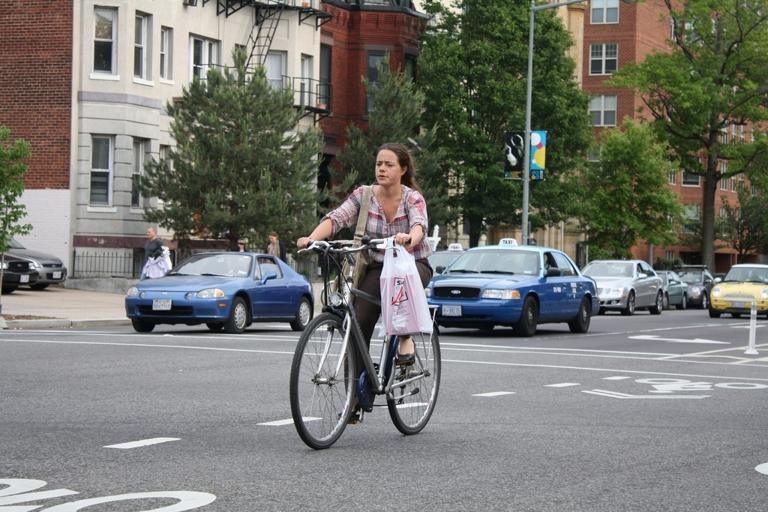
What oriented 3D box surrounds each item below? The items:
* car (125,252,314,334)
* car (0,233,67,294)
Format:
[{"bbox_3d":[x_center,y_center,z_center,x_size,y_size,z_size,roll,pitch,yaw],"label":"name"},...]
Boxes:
[{"bbox_3d":[-3.299,0.727,23.155,1.698,1.673,3.872,3,1,36],"label":"car"},{"bbox_3d":[-10.263,0.336,32.344,1.377,1.274,2.096,3,2,43],"label":"car"}]
